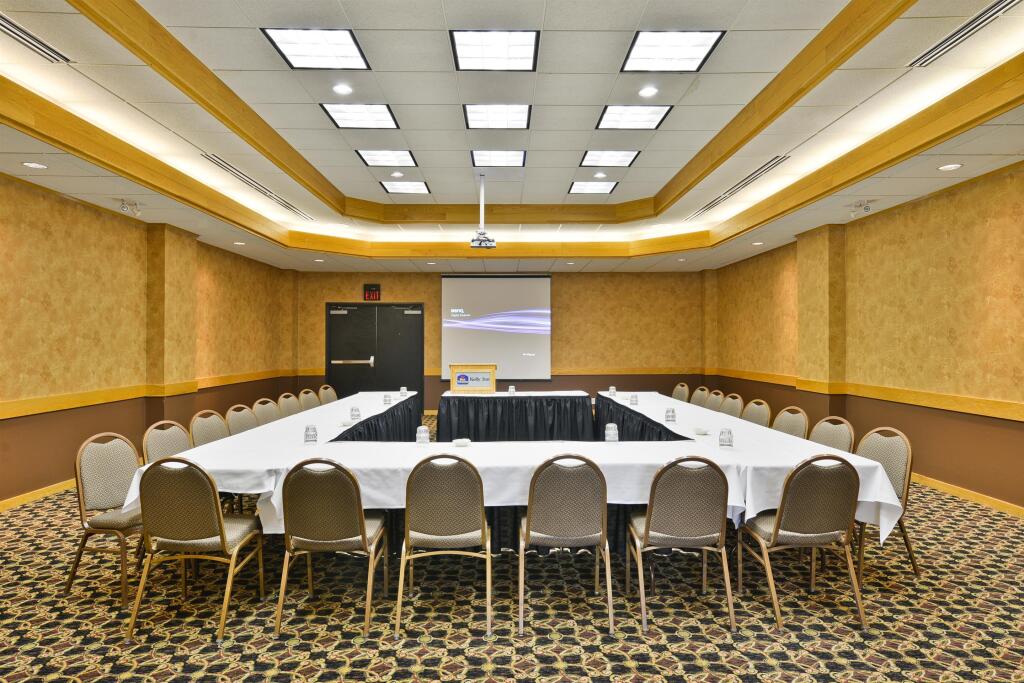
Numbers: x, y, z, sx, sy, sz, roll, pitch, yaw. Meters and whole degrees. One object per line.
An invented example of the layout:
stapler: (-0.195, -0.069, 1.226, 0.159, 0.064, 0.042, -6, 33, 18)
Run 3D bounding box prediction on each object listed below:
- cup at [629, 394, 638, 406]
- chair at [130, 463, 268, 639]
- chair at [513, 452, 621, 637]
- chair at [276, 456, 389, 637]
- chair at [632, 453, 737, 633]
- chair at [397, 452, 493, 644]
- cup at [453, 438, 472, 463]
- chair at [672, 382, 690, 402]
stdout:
cup: (1.761, 0.854, 9.074, 0.139, 0.199, 0.128, 2, -2, 0)
chair: (-2.634, 1.689, 5.281, 0.967, 1.403, 0.505, 3, -2, -21)
chair: (0.496, 1.690, 5.474, 0.846, 1.473, 0.791, 2, -2, 5)
chair: (-1.511, 1.685, 5.417, 0.894, 1.172, 0.764, 3, -2, -11)
chair: (1.486, 1.681, 5.495, 0.957, 1.440, 0.903, 1, -2, 29)
chair: (-0.551, 1.679, 5.440, 0.828, 1.072, 0.786, 2, -2, -4)
cup: (-0.432, 1.028, 6.051, 0.179, 0.227, 0.163, 1, -7, 0)
chair: (2.871, 0.866, 10.648, 0.331, 0.483, 0.360, -1, -8, 23)
